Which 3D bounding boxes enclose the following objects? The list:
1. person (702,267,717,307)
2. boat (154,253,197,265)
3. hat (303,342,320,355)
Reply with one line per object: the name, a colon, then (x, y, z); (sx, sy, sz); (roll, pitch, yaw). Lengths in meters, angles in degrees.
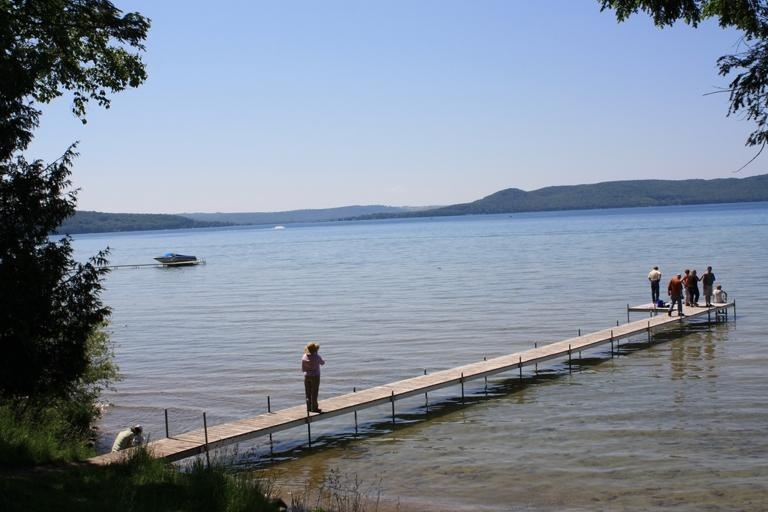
person: (17.267, 1.586, 51.265); (0.503, 2.082, 1.234); (-1, 11, 17)
boat: (-29.567, 0.393, 130.451); (7.971, 1.741, 2.152); (1, -2, 18)
hat: (-2.661, 3.310, 34.936); (0.896, 0.384, 0.980); (3, -8, 0)
